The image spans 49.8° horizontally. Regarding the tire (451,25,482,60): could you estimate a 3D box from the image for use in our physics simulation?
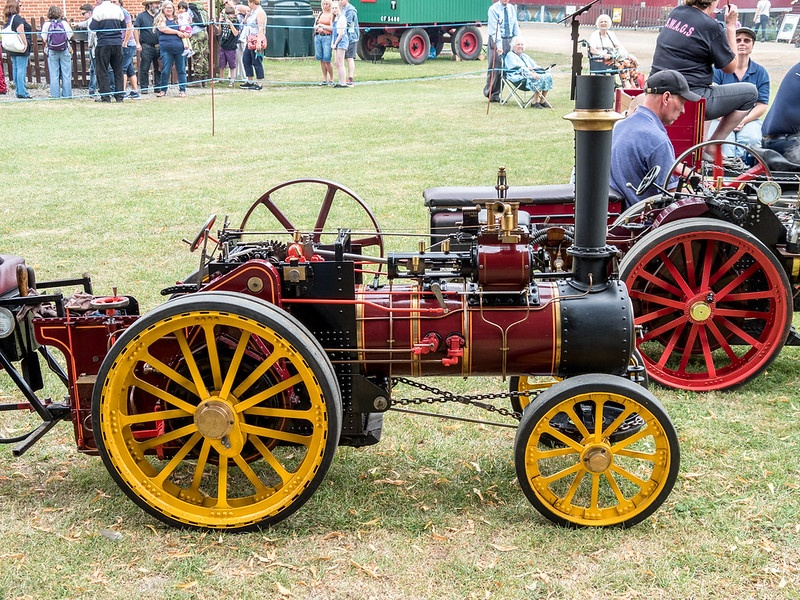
[{"bbox_3d":[1.986,-7.575,25.461,0.885,0.912,0.276,-11,11,-30],"label":"tire"}]

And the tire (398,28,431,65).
[{"bbox_3d":[0.449,-7.005,24.040,1.043,0.973,0.462,-14,18,-42],"label":"tire"}]

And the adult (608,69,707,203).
[{"bbox_3d":[2.032,-1.158,6.797,0.659,1.266,0.870,-11,22,-9],"label":"adult"}]

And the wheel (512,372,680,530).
[{"bbox_3d":[1.103,0.744,4.947,0.856,0.812,0.817,-1,14,0],"label":"wheel"}]

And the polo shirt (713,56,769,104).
[{"bbox_3d":[4.154,-2.708,10.437,0.707,0.390,0.596,10,-22,23],"label":"polo shirt"}]

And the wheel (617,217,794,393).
[{"bbox_3d":[2.101,0.004,5.875,1.039,1.095,0.373,-6,13,0],"label":"wheel"}]

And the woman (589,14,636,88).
[{"bbox_3d":[4.202,-4.745,16.706,0.719,1.499,1.140,-9,15,-33],"label":"woman"}]

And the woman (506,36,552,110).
[{"bbox_3d":[2.693,-4.578,17.609,0.914,1.617,0.837,-11,10,-32],"label":"woman"}]

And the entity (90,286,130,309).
[{"bbox_3d":[-1.654,0.009,4.942,0.143,0.081,0.143,-7,13,-14],"label":"entity"}]

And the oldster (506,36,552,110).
[{"bbox_3d":[2.691,-4.572,17.604,0.954,1.601,0.897,-9,9,-21],"label":"oldster"}]

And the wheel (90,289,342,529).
[{"bbox_3d":[-0.983,0.614,4.667,1.275,1.344,0.344,1,14,3],"label":"wheel"}]

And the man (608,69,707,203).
[{"bbox_3d":[2.027,-1.180,6.799,0.630,1.211,0.851,-12,27,-9],"label":"man"}]

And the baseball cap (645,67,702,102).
[{"bbox_3d":[2.106,-1.607,6.608,0.389,0.238,0.253,-2,25,4],"label":"baseball cap"}]

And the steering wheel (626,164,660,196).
[{"bbox_3d":[1.830,-0.855,6.358,0.078,0.259,0.195,27,4,-5],"label":"steering wheel"}]

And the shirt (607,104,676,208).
[{"bbox_3d":[1.772,-1.031,6.324,0.343,0.714,0.763,-7,23,-16],"label":"shirt"}]
